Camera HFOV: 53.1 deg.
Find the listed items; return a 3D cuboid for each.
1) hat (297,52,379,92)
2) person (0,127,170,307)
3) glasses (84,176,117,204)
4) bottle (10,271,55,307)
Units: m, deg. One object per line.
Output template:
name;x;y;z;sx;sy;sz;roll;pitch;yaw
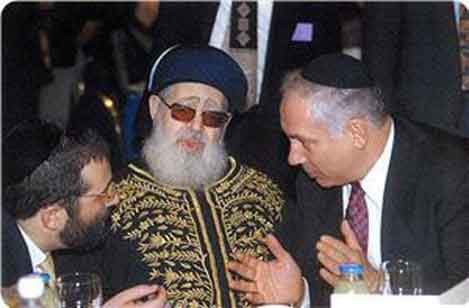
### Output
hat;0.527;-0.418;2.382;0.217;0.080;0.224;7;16;-16
person;-0.798;0.346;2.387;0.827;0.476;0.341;-5;-10;-34
glasses;-0.690;0.183;2.397;0.121;0.040;0.117;-2;23;2
bottle;-0.960;0.669;2.280;0.247;0.134;0.110;4;10;13
